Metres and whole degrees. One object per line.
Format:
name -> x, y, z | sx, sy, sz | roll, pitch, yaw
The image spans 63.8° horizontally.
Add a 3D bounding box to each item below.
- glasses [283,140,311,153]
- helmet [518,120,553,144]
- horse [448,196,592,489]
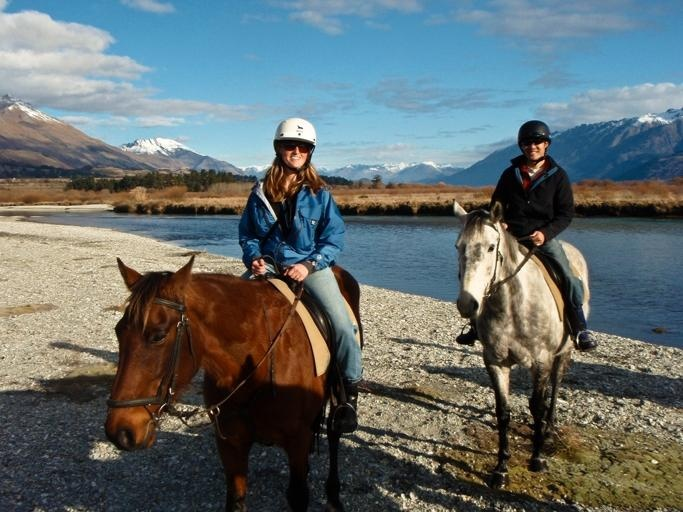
glasses -> -0.531, -1.336, 6.654 | 0.201, 0.049, 0.190 | 2, -1, -34
helmet -> 2.832, -1.788, 7.889 | 0.437, 0.314, 0.260 | 4, 12, 16
horse -> 2.527, 1.101, 7.663 | 1.107, 3.725, 2.857 | 11, 15, 39
